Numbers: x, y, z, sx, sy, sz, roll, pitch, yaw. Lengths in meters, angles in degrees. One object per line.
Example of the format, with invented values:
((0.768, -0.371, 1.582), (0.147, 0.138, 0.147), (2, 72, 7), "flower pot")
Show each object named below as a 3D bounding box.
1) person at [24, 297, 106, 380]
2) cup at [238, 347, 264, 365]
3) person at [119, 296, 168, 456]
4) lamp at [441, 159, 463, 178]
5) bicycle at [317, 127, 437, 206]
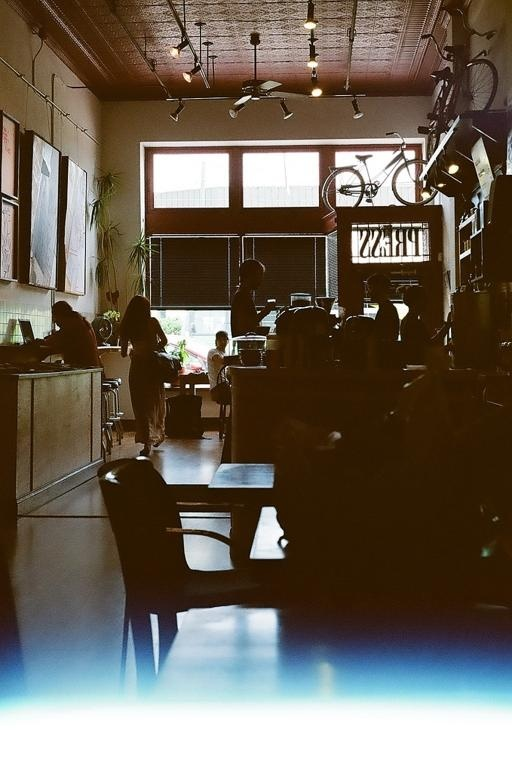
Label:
((-1.999, -0.357, 6.192), (0.679, 1.095, 0.515), (-3, 22, -12), "person")
((-0.027, -0.161, 2.837), (0.089, 0.104, 0.073), (1, 6, 15), "cup")
((-1.211, -0.102, 6.459), (0.498, 1.800, 0.585), (-9, 10, -20), "person")
((2.239, -2.497, 6.535), (0.186, 0.166, 0.212), (-1, -7, 6), "lamp")
((1.853, -3.264, 8.859), (2.076, 1.519, 0.932), (-3, 11, 3), "bicycle")
